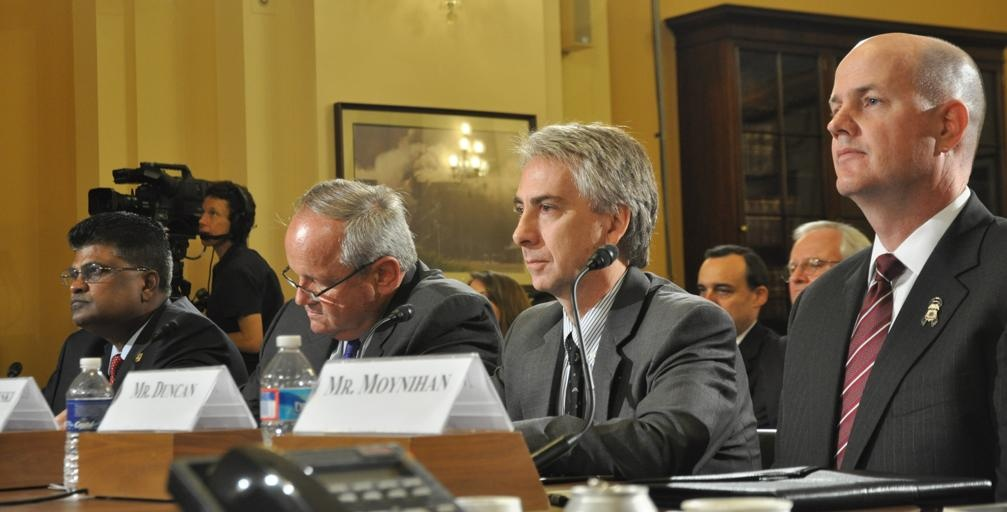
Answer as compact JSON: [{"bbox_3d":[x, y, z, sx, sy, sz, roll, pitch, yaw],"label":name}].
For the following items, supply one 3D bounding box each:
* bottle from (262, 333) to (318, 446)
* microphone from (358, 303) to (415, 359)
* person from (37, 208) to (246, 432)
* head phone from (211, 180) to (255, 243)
[{"bbox_3d":[-0.891,0.507,4.452,0.231,0.376,1.038,1,2,-12],"label":"bottle"},{"bbox_3d":[-0.530,0.334,4.816,0.223,0.246,0.415,1,2,-8],"label":"microphone"},{"bbox_3d":[-1.890,0.323,5.663,1.387,0.972,0.924,-8,-8,44],"label":"person"},{"bbox_3d":[-1.865,-0.299,7.330,0.293,0.324,0.326,27,-29,9],"label":"head phone"}]
